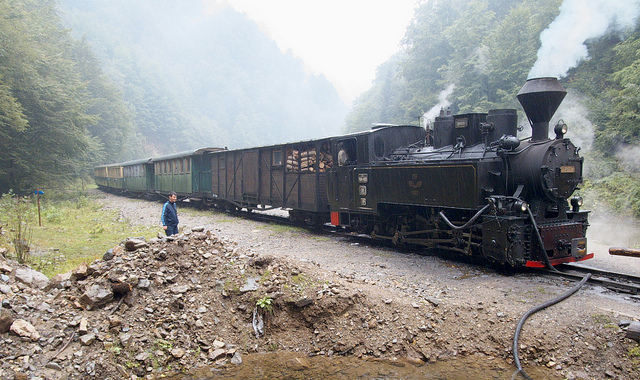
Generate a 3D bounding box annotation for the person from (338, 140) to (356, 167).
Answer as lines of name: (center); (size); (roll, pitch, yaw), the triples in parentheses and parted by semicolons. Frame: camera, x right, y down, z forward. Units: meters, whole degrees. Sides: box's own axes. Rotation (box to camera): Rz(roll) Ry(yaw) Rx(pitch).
person: (1.110, -1.602, 17.351); (1.158, 1.407, 0.890); (-1, 1, 8)
